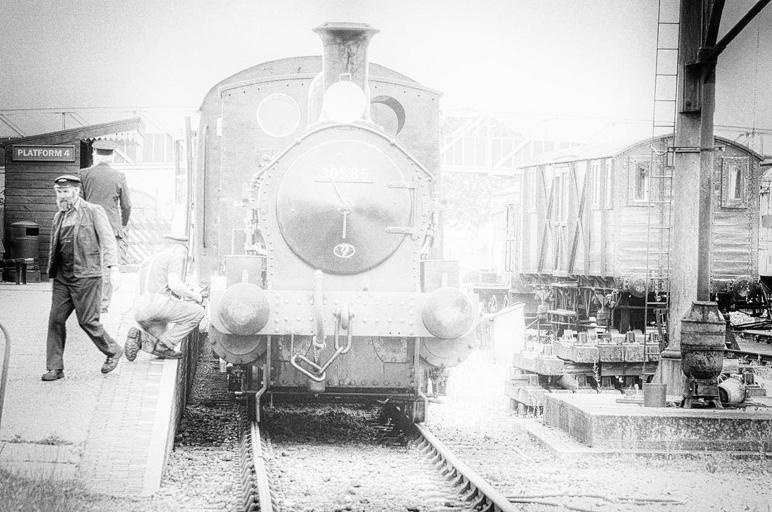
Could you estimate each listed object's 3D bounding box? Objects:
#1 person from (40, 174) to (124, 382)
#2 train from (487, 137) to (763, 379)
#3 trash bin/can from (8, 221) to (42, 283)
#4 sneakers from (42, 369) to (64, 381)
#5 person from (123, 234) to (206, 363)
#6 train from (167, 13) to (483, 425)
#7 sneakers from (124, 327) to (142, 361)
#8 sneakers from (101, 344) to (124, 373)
[{"bbox_3d":[-4.381,0.308,11.929,0.989,2.897,0.673,1,3,-18],"label":"person"},{"bbox_3d":[7.222,0.012,24.781,4.360,5.201,8.689,1,-4,-6],"label":"train"},{"bbox_3d":[-8.680,-0.123,19.893,0.708,1.416,2.093,1,3,-24],"label":"trash bin/can"},{"bbox_3d":[-4.656,1.684,11.616,0.309,0.137,0.125,2,1,-23],"label":"sneakers"},{"bbox_3d":[-3.259,0.639,12.450,0.892,1.813,1.193,3,3,16],"label":"person"},{"bbox_3d":[-1.025,-0.492,13.221,4.697,6.163,3.284,2,3,-6],"label":"train"},{"bbox_3d":[-3.687,1.293,12.083,0.240,0.516,0.195,2,3,-15],"label":"sneakers"},{"bbox_3d":[-3.906,1.507,11.928,0.179,0.500,0.201,8,-23,24],"label":"sneakers"}]
